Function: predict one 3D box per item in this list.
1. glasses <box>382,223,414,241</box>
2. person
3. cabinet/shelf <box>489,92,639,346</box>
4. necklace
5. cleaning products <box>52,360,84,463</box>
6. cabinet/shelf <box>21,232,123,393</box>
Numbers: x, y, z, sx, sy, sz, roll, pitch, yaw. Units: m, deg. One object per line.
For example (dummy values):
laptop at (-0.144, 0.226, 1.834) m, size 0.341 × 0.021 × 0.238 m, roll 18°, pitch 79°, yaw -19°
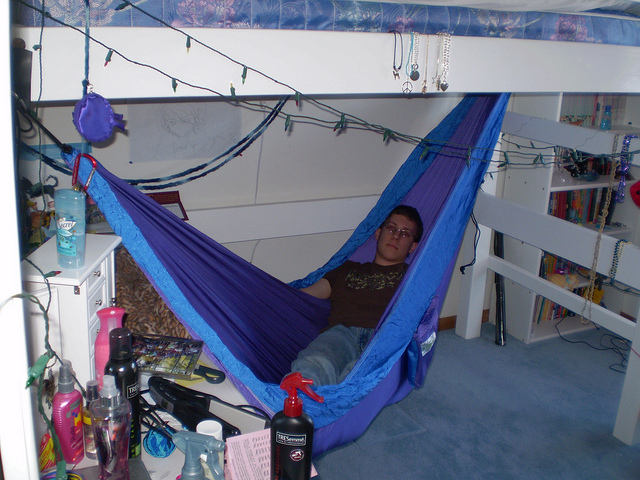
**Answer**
glasses at (0.455, -0.045, 2.919) m, size 0.099 × 0.029 × 0.100 m, roll 21°, pitch -13°, yaw 18°
person at (0.166, 0.220, 2.629) m, size 0.530 × 0.682 × 1.131 m, roll 5°, pitch 13°, yaw 21°
cabinet/shelf at (1.516, -0.128, 3.417) m, size 1.259 × 1.686 × 0.588 m, roll -11°, pitch 17°, yaw -42°
necklace at (0.396, -0.720, 2.021) m, size 0.222 × 0.215 × 0.034 m, roll -8°, pitch 22°, yaw -22°
cleaning products at (-0.713, 0.485, 1.433) m, size 0.078 × 0.275 × 0.115 m, roll -6°, pitch 14°, yaw -27°
cabinet/shelf at (-0.795, 0.100, 1.669) m, size 0.161 × 0.324 × 0.227 m, roll 11°, pitch 17°, yaw 12°
